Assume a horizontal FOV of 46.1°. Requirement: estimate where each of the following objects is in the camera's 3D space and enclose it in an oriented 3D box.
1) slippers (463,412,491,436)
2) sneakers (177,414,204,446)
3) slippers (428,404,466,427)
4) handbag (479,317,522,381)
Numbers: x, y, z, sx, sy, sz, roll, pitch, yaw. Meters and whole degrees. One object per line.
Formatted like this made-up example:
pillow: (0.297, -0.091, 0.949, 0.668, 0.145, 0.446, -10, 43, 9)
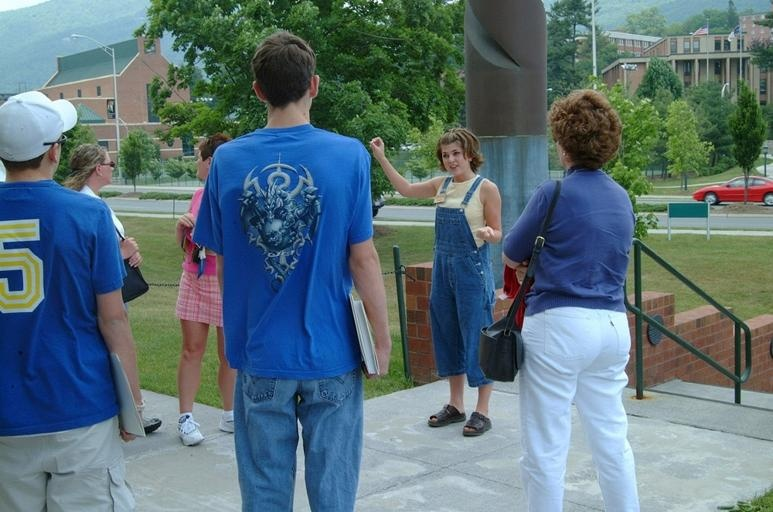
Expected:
slippers: (0.806, 1.429, 7.808, 0.309, 0.179, 0.125, -7, 7, -36)
sneakers: (-1.659, 1.457, 7.668, 0.137, 0.150, 0.342, -3, 0, -30)
slippers: (0.535, 1.411, 7.993, 0.352, 0.142, 0.138, 4, -9, -38)
handbag: (0.787, 0.577, 6.214, 0.296, 0.517, 0.399, 5, 4, 3)
